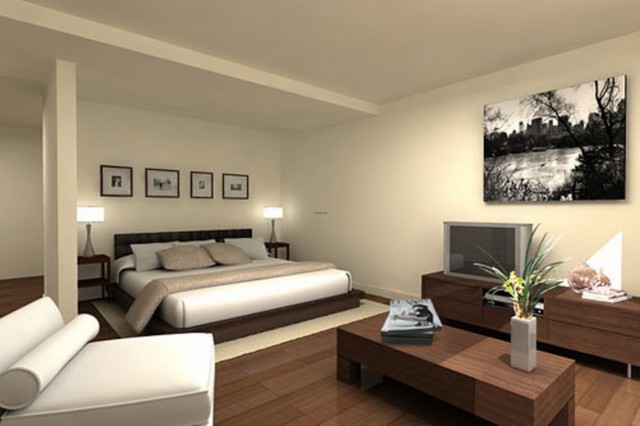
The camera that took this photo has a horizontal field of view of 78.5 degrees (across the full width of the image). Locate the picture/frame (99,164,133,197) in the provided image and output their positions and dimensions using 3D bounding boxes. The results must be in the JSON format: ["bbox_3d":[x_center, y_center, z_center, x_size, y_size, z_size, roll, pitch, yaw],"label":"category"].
[{"bbox_3d":[-3.142,-0.508,5.989,0.583,0.611,0.066,0,1,-38],"label":"picture/frame"}]

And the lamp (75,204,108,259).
[{"bbox_3d":[-3.264,0.247,5.623,0.331,0.761,0.516,-8,16,-30],"label":"lamp"}]

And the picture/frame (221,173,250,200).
[{"bbox_3d":[-1.569,-0.500,7.143,0.577,0.428,0.050,-1,3,-39],"label":"picture/frame"}]

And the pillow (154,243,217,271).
[{"bbox_3d":[-1.990,0.629,5.674,0.442,0.139,0.500,21,10,39],"label":"pillow"}]

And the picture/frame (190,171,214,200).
[{"bbox_3d":[-2.057,-0.492,6.757,0.561,0.603,0.045,0,3,-41],"label":"picture/frame"}]

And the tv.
[{"bbox_3d":[1.964,0.449,4.521,0.820,0.594,0.291,2,3,42],"label":"tv"}]

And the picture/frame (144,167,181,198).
[{"bbox_3d":[-2.588,-0.506,6.366,0.578,0.477,0.053,0,2,-39],"label":"picture/frame"}]

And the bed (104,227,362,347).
[{"bbox_3d":[-1.461,0.976,5.050,1.729,0.551,1.631,-1,1,-41],"label":"bed"}]

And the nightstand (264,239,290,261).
[{"bbox_3d":[-0.790,0.703,7.373,0.420,0.387,0.403,-4,4,-42],"label":"nightstand"}]
